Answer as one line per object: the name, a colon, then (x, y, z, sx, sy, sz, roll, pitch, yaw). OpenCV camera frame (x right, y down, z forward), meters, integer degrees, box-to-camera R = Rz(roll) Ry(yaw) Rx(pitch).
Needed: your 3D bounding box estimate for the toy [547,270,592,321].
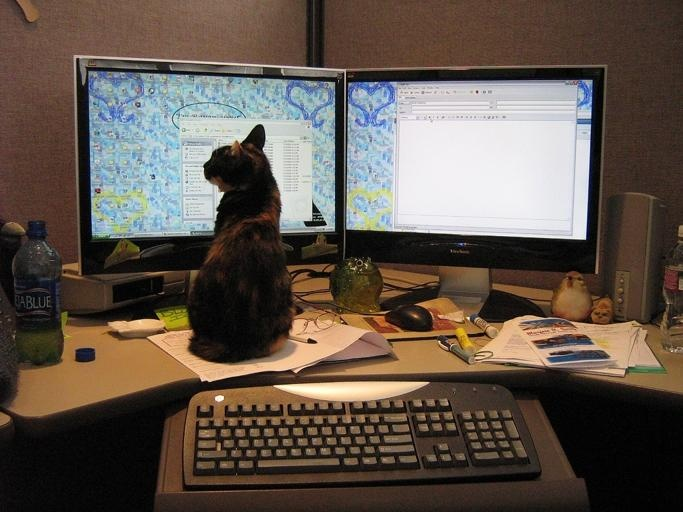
toy: (0.531, 0.096, 1.323, 0.096, 0.122, 0.127, 3, 1, 23)

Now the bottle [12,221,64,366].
bottle: (-0.569, 0.061, 1.076, 0.087, 0.252, 0.136, -6, 16, -26)

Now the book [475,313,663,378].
book: (0.454, 0.169, 1.171, 0.342, 0.027, 0.264, 4, 14, 14)

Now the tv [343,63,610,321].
tv: (0.291, -0.158, 1.374, 0.623, 0.560, 0.197, 0, 8, -2)

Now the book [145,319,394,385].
book: (-0.136, 0.213, 1.264, 0.398, 0.073, 0.522, -3, -9, -22)

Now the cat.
cat: (-0.190, -0.026, 1.123, 0.174, 0.435, 0.247, 5, -23, -16)

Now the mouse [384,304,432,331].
mouse: (0.152, 0.132, 1.245, 0.048, 0.029, 0.081, -6, 12, -37)

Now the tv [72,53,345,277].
tv: (-0.297, -0.200, 1.239, 0.558, 0.399, 0.048, -1, 5, -16)

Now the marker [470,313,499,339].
marker: (0.305, 0.148, 1.233, 0.024, 0.021, 0.071, 12, 12, -14)
